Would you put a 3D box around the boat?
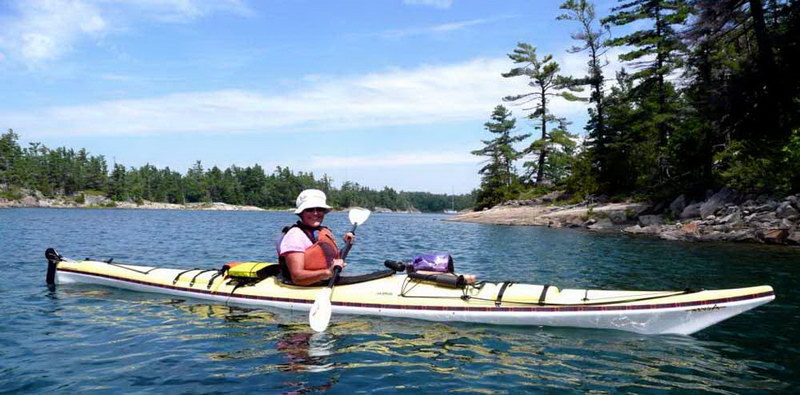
[{"bbox_3d":[0.415,4.921,30.599,34.639,2.942,4.188,-2,15,16],"label":"boat"}]
